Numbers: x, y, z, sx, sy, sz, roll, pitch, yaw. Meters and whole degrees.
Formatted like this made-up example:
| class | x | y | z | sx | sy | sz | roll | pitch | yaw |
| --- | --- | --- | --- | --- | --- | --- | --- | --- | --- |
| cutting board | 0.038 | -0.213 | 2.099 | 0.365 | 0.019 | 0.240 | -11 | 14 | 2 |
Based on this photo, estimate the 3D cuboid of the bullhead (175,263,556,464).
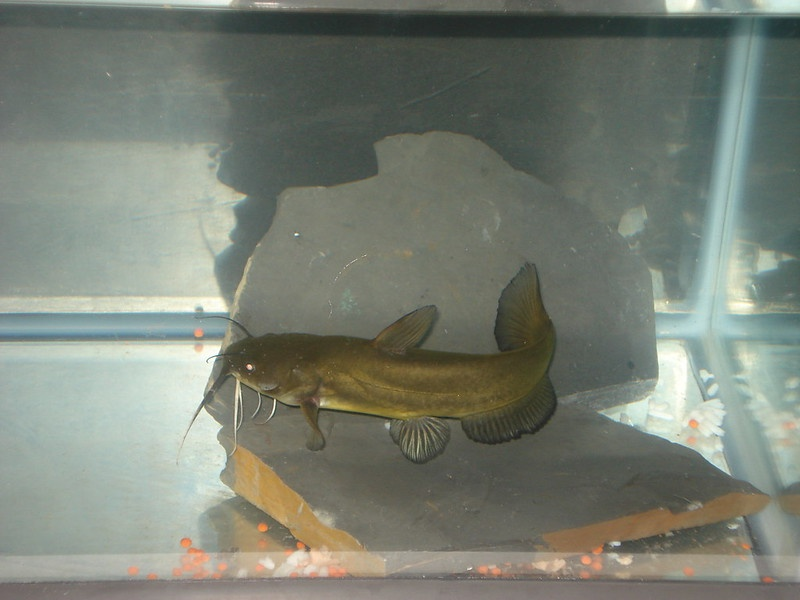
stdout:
| class | x | y | z | sx | sy | sz | roll | pitch | yaw |
| --- | --- | --- | --- | --- | --- | --- | --- | --- | --- |
| bullhead | -0.096 | 0.201 | 2.783 | 1.108 | 0.490 | 0.475 | -1 | 18 | -2 |
